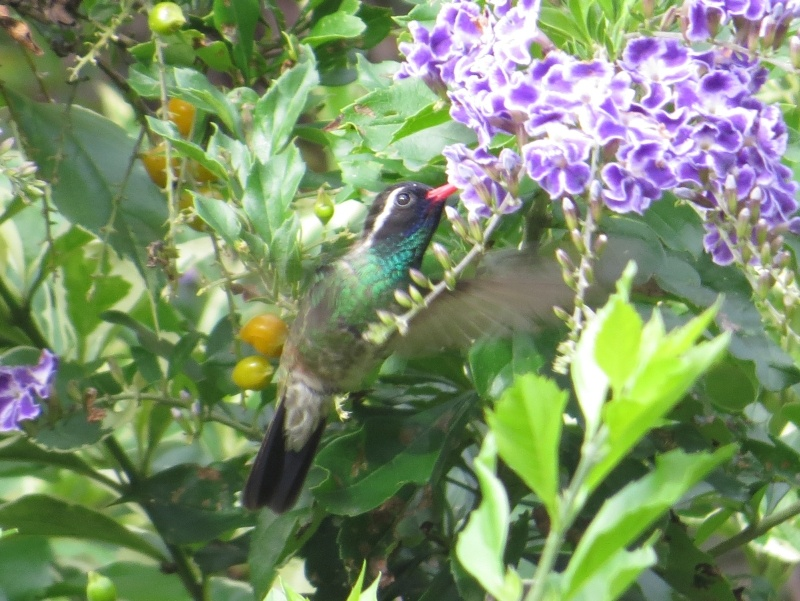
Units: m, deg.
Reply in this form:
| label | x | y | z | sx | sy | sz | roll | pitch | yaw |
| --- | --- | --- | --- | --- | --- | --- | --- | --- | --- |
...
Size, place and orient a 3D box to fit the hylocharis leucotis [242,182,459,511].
| label | x | y | z | sx | sy | sz | roll | pitch | yaw |
| --- | --- | --- | --- | --- | --- | --- | --- | --- | --- |
| hylocharis leucotis | -0.037 | 0.036 | 0.878 | 0.080 | 0.272 | 0.117 | 28 | 23 | -46 |
